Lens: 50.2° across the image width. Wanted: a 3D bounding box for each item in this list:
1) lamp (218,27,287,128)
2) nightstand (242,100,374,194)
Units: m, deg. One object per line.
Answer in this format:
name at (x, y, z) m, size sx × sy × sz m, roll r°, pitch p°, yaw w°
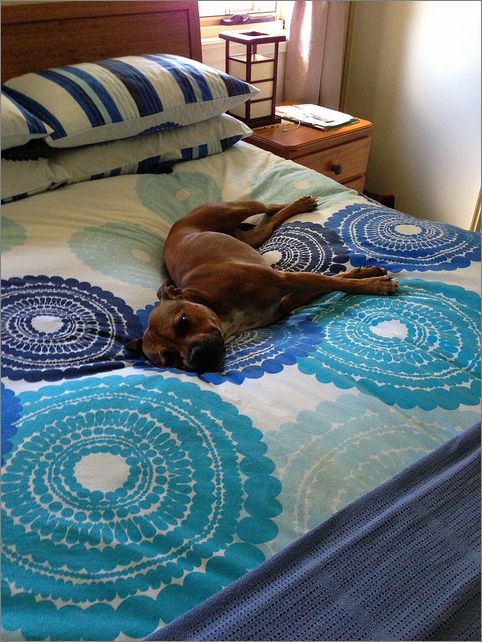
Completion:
lamp at (0.059, -1.221, 2.591) m, size 0.311 × 0.388 × 0.298 m, roll -4°, pitch 34°, yaw -7°
nightstand at (0.362, -0.799, 2.823) m, size 0.602 × 0.573 × 0.428 m, roll -27°, pitch 47°, yaw -25°
